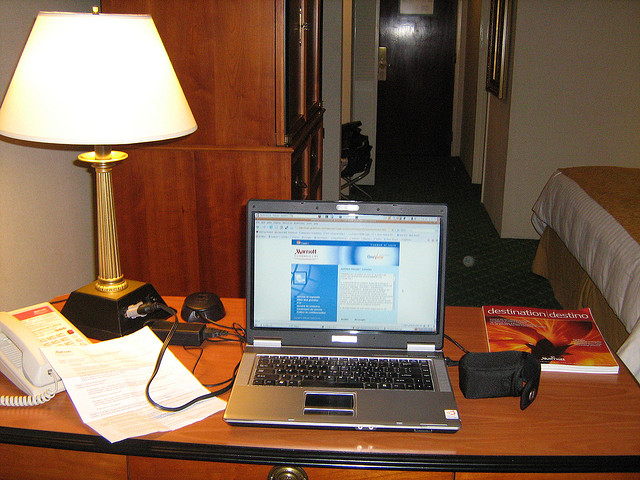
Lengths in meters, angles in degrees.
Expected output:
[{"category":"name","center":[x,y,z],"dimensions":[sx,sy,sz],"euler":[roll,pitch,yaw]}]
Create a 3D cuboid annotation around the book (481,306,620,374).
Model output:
[{"category":"book","center":[0.691,0.297,1.655],"dimensions":[0.358,0.052,0.329],"euler":[2,24,4]}]
